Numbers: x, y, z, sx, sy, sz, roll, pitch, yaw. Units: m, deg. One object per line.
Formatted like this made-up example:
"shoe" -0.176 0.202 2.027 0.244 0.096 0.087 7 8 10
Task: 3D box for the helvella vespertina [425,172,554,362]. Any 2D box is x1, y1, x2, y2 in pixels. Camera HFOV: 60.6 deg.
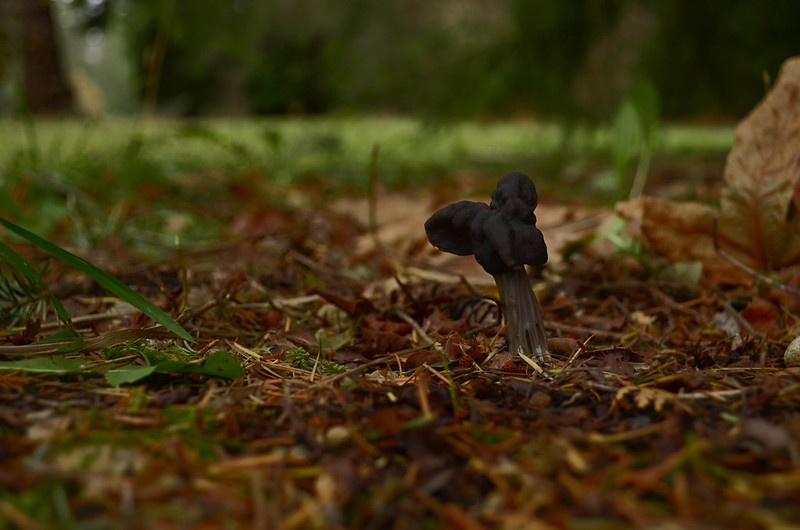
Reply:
"helvella vespertina" 0.296 0.017 2.103 0.353 0.439 0.436 -13 42 -1
